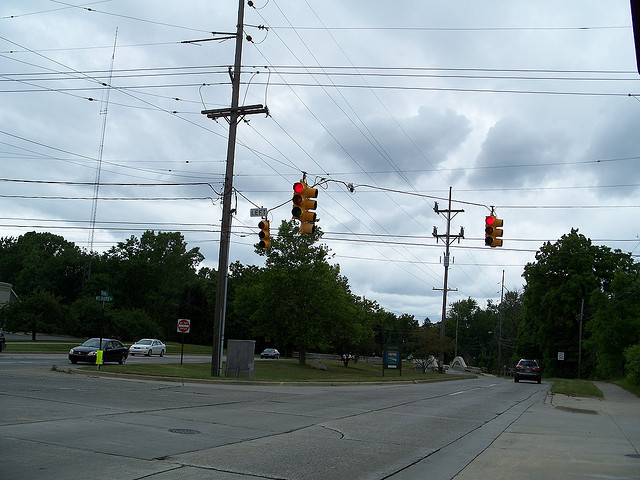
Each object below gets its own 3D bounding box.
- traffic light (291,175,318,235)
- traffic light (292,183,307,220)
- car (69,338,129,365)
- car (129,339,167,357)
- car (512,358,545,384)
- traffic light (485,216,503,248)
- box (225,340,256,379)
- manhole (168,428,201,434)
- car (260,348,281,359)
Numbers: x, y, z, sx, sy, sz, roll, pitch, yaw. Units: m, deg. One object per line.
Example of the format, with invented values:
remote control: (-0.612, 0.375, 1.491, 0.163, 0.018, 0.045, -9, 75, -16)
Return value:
traffic light: (-0.698, -1.271, 22.670, 0.400, 1.947, 0.943, 4, -2, 9)
traffic light: (-0.695, -1.363, 22.569, 0.458, 1.347, 0.364, 3, -10, -5)
car: (-11.896, 6.004, 35.338, 1.778, 1.427, 3.686, 0, -11, 8)
car: (-13.258, 8.520, 51.855, 1.250, 0.942, 2.858, -5, -18, 20)
car: (14.367, 9.109, 45.418, 1.660, 1.580, 2.171, -2, -12, 22)
traffic light: (6.506, -0.302, 24.590, 0.506, 0.976, 0.653, -14, -35, 28)
box: (-4.217, 6.086, 32.219, 1.816, 2.035, 1.831, -2, -12, 10)
manhole: (-3.341, 4.719, 16.158, 0.739, 0.077, 0.541, -1, -12, 14)
car: (-5.518, 12.704, 73.521, 0.958, 0.669, 1.957, 0, 1, 16)
